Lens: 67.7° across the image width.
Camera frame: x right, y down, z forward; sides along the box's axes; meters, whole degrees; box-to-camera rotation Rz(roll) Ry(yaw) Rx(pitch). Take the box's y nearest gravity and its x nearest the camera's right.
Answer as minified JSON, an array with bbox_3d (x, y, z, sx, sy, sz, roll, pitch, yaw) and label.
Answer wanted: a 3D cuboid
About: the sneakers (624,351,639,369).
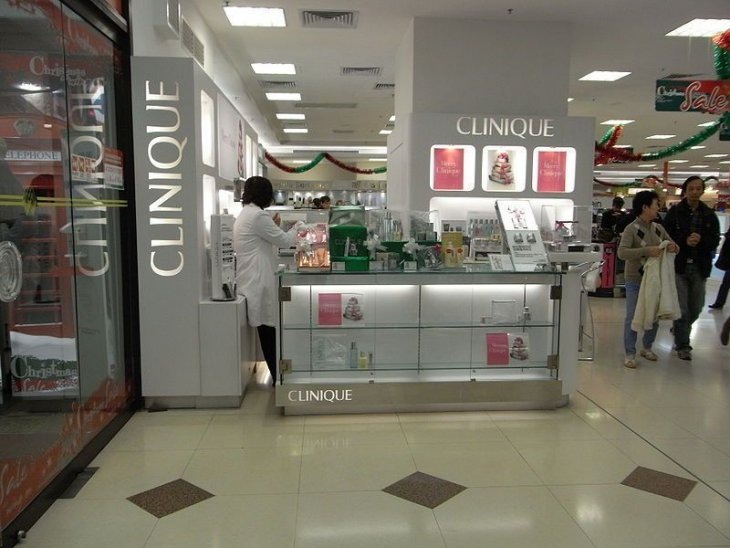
[{"bbox_3d":[3.093,1.000,6.340,0.101,0.133,0.306,-1,-5,8],"label":"sneakers"}]

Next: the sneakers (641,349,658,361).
[{"bbox_3d":[3.398,0.961,6.461,0.092,0.079,0.184,-5,-1,1],"label":"sneakers"}]

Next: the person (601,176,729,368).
[{"bbox_3d":[3.501,-0.035,6.296,1.282,2.146,0.583,-6,14,-24],"label":"person"}]

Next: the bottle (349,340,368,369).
[{"bbox_3d":[-0.068,0.744,5.013,0.236,0.349,0.119,1,-6,-10],"label":"bottle"}]

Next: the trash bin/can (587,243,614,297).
[{"bbox_3d":[4.823,-0.127,11.152,0.675,0.966,0.652,2,3,-41],"label":"trash bin/can"}]

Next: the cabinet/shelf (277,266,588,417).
[{"bbox_3d":[0.591,0.611,5.003,2.778,1.289,0.332,-1,13,-5],"label":"cabinet/shelf"}]

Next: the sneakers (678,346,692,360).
[{"bbox_3d":[3.812,0.938,6.487,0.091,0.166,0.237,-1,-7,8],"label":"sneakers"}]

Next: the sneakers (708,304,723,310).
[{"bbox_3d":[6.003,0.573,9.308,0.236,0.106,0.081,8,15,24],"label":"sneakers"}]

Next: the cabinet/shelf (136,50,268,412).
[{"bbox_3d":[-1.720,-0.421,6.477,0.876,3.137,3.230,-2,4,-3],"label":"cabinet/shelf"}]
